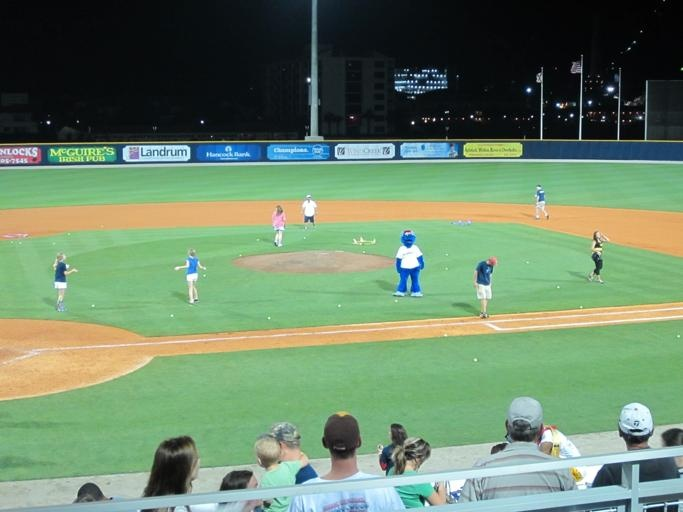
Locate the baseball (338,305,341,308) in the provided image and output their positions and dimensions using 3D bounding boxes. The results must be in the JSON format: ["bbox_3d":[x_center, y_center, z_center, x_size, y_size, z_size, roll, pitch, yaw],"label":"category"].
[{"bbox_3d":[-0.090,1.484,29.839,0.060,0.027,0.094,-9,13,4],"label":"baseball"}]

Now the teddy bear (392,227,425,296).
[{"bbox_3d":[2.051,0.146,31.209,0.892,2.054,1.288,0,15,3],"label":"teddy bear"}]

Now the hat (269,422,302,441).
[{"bbox_3d":[-0.948,2.905,16.573,0.459,0.195,0.262,13,11,12],"label":"hat"}]

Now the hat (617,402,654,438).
[{"bbox_3d":[4.537,2.468,15.578,0.574,0.354,0.776,-1,21,12],"label":"hat"}]

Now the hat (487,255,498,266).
[{"bbox_3d":[4.195,0.129,28.140,0.195,0.285,0.781,3,14,14],"label":"hat"}]
